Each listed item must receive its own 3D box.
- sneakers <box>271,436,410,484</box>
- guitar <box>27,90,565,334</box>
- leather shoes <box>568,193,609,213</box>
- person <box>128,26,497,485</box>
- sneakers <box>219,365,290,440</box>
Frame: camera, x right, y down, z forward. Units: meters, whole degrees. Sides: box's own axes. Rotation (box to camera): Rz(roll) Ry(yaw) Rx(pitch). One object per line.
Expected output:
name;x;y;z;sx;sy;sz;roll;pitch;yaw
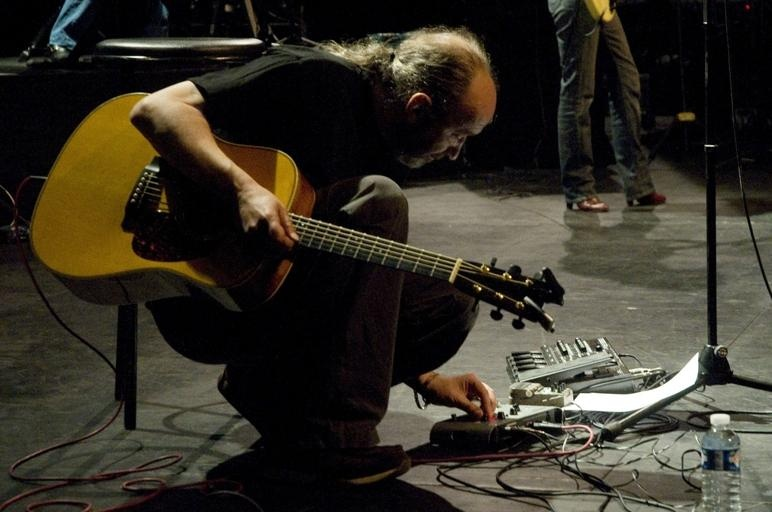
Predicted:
sneakers;-0.150;0.689;2.565;0.476;0.143;0.173;6;-27;-7
guitar;-0.365;0.006;2.784;1.912;0.721;0.256;20;-1;5
leather shoes;1.558;-0.388;5.891;0.340;0.128;0.131;-4;-10;24
person;-0.184;-0.024;2.589;1.115;1.459;0.581;-6;14;-24
sneakers;-0.465;0.488;2.609;0.150;0.286;0.050;-42;-18;21
